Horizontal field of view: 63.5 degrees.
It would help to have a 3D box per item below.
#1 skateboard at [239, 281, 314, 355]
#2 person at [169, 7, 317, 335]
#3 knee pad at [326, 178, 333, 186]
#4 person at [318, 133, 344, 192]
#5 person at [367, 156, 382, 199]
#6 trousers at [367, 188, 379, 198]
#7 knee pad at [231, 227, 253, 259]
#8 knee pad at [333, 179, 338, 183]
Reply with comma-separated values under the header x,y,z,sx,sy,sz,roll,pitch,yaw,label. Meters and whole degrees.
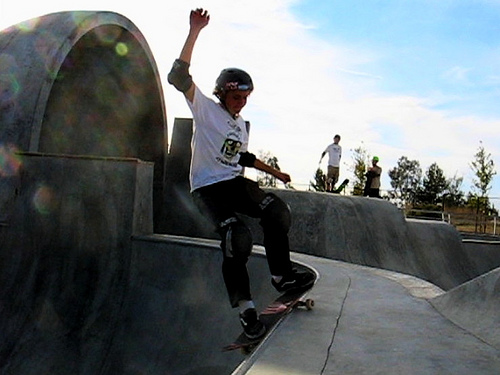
x,y,z,sx,sy,sz,roll,pitch,yaw,label
0.247,0.992,3.312,0.270,0.188,1.138,-29,6,38,skateboard
-0.054,-0.210,3.633,0.939,2.608,1.041,1,3,30,person
2.478,-0.164,12.470,0.229,0.231,0.126,-1,3,-25,knee pad
2.492,-0.729,12.344,0.528,1.732,1.097,0,3,10,person
4.044,-0.290,13.121,0.414,1.392,2.604,1,3,17,person
4.102,0.173,13.363,0.306,0.392,0.292,0,1,-25,trousers
-0.058,0.455,3.274,0.152,0.235,0.073,6,-15,-20,knee pad
2.665,-0.188,12.624,0.104,0.118,0.090,6,-5,-10,knee pad
